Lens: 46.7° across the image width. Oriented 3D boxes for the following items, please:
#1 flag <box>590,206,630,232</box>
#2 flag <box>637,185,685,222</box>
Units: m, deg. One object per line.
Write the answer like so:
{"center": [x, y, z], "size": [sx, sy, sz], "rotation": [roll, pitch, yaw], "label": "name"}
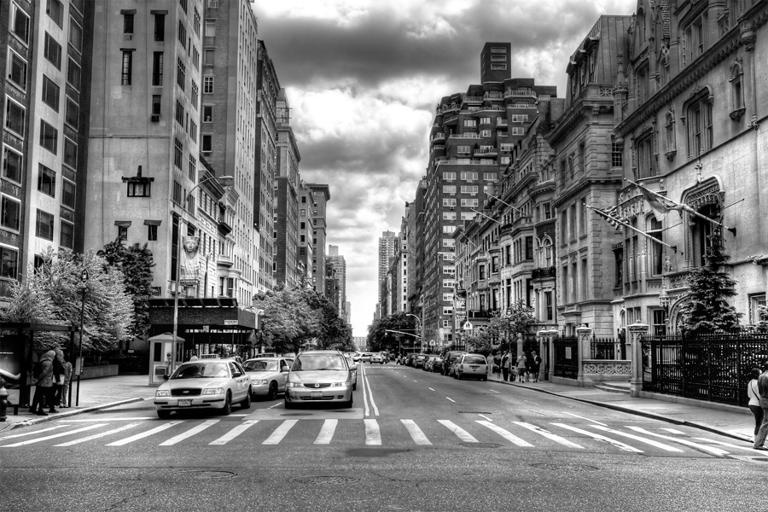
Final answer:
{"center": [15.759, -2.705, 61.771], "size": [1.566, 0.396, 1.693], "rotation": [24, -23, 3], "label": "flag"}
{"center": [16.937, -3.118, 54.579], "size": [1.848, 2.095, 7.448], "rotation": [-4, -13, 20], "label": "flag"}
